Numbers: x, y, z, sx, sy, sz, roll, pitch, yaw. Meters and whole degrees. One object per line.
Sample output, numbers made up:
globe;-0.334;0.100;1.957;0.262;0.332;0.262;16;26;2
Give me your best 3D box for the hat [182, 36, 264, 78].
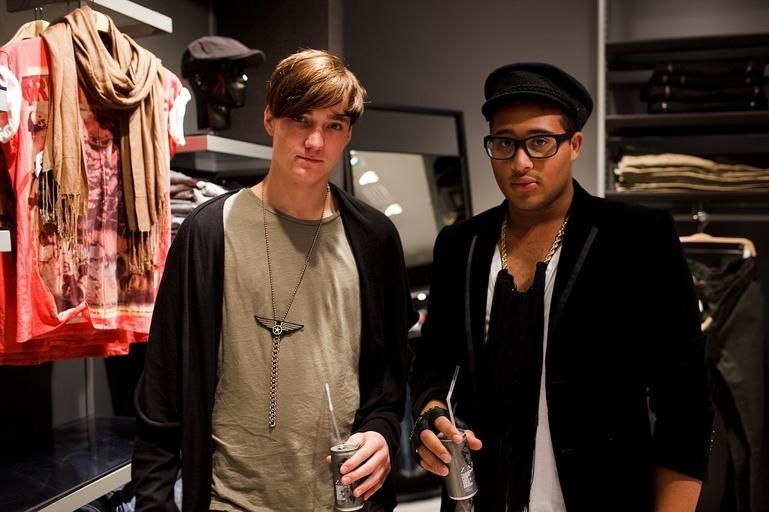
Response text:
hat;-0.896;-1.075;3.806;0.366;0.131;0.247;-12;1;-1
